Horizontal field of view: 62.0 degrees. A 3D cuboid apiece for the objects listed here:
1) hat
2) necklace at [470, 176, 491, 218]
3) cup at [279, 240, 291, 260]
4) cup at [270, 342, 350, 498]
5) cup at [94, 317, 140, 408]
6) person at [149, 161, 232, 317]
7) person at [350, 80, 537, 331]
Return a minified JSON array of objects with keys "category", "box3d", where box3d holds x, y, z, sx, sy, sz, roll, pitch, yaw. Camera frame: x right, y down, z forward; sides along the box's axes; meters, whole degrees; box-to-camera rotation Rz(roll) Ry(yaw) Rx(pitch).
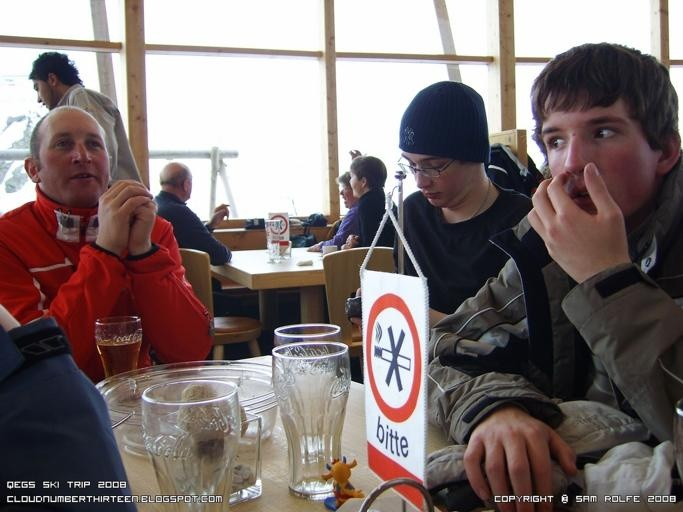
[{"category":"hat","box3d":[0.369,-0.491,2.057,0.337,0.277,0.347,0,16,-37]},{"category":"necklace","box3d":[0.486,-0.198,1.963,0.023,0.118,0.078,11,5,1]},{"category":"cup","box3d":[-0.353,-0.034,3.556,0.091,0.133,0.092,1,10,0]},{"category":"cup","box3d":[-0.038,0.249,0.844,0.113,0.209,0.072,-5,7,-9]},{"category":"cup","box3d":[-0.483,0.201,1.237,0.089,0.149,0.089,2,9,0]},{"category":"person","box3d":[-1.026,0.003,3.828,0.595,1.196,0.530,-4,14,-38]},{"category":"person","box3d":[0.443,-0.171,2.429,0.691,1.174,0.858,0,4,-21]}]
